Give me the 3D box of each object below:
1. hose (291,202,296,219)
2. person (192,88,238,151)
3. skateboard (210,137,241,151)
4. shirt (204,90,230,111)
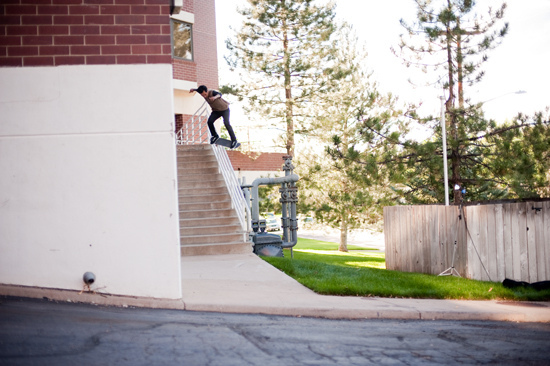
[{"bbox_3d":[0.583,0.835,23.736,0.141,0.524,0.209,2,11,-2],"label":"hose"},{"bbox_3d":[-1.726,-1.848,20.718,1.217,1.827,1.070,7,22,42],"label":"person"},{"bbox_3d":[-1.359,-1.134,21.665,0.250,0.132,0.932,-47,-30,23],"label":"skateboard"},{"bbox_3d":[-1.543,-2.200,20.507,0.457,0.247,0.827,-16,-27,43],"label":"shirt"}]
